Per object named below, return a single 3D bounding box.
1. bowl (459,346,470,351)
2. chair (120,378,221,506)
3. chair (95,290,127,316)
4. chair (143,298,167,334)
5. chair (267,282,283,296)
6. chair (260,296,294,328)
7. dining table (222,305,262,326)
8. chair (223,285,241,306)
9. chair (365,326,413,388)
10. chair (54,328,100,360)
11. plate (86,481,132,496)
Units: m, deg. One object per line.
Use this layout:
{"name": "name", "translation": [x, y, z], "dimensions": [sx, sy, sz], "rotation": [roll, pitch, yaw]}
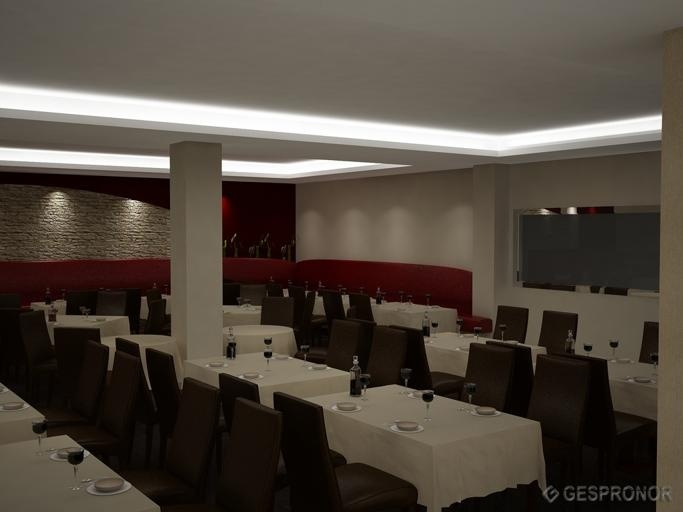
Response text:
{"name": "bowl", "translation": [1.418, 1.063, 5.824], "dimensions": [0.096, 0.028, 0.149], "rotation": [1, -1, -21]}
{"name": "chair", "translation": [-1.155, 1.188, 3.579], "dimensions": [0.696, 1.089, 0.560], "rotation": [6, -2, -38]}
{"name": "chair", "translation": [-4.008, 0.812, 8.836], "dimensions": [0.357, 0.629, 0.465], "rotation": [1, -1, -14]}
{"name": "chair", "translation": [-2.782, 0.925, 7.600], "dimensions": [0.279, 0.543, 0.457], "rotation": [0, 2, -20]}
{"name": "chair", "translation": [-1.293, 0.644, 9.875], "dimensions": [0.253, 0.346, 0.253], "rotation": [1, 4, -9]}
{"name": "chair", "translation": [-0.995, 0.848, 7.862], "dimensions": [0.416, 0.840, 0.451], "rotation": [0, -3, 14]}
{"name": "dining table", "translation": [-1.674, 1.014, 8.514], "dimensions": [0.600, 0.261, 0.954], "rotation": [1, 1, -13]}
{"name": "chair", "translation": [-2.144, 0.745, 9.884], "dimensions": [0.342, 0.561, 0.363], "rotation": [1, 3, -7]}
{"name": "chair", "translation": [0.478, 1.070, 5.359], "dimensions": [0.459, 0.620, 0.334], "rotation": [2, 2, 31]}
{"name": "chair", "translation": [-2.682, 0.889, 5.130], "dimensions": [0.275, 0.441, 0.297], "rotation": [2, 5, 14]}
{"name": "plate", "translation": [-1.206, 1.194, 2.617], "dimensions": [0.223, 0.023, 0.138], "rotation": [1, 1, -3]}
